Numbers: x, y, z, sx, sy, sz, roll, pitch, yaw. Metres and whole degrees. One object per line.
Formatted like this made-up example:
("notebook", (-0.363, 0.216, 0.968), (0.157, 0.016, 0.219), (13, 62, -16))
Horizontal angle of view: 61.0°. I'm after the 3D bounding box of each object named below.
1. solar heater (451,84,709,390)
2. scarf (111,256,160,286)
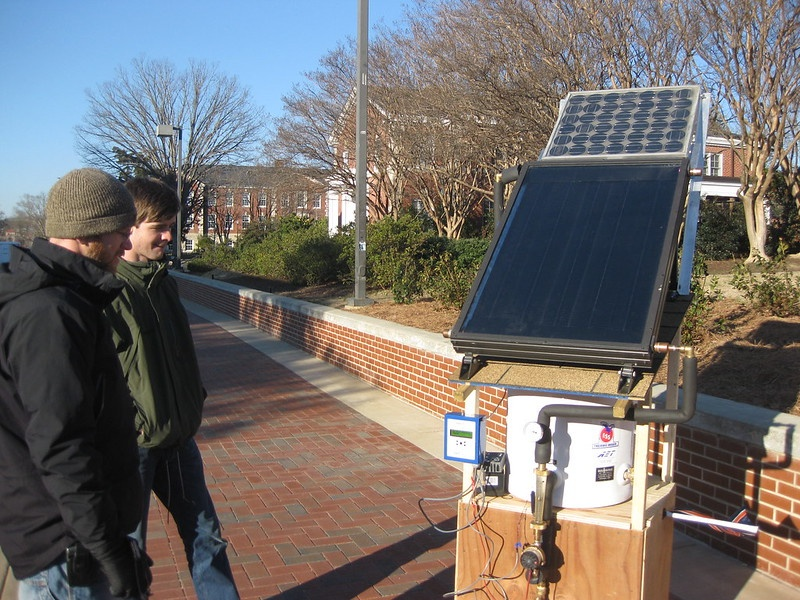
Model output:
("solar heater", (1.375, -0.801, 4.482), (1.203, 0.489, 2.073), (25, 16, 17))
("scarf", (-1.493, -0.168, 3.910), (0.249, 0.223, 0.201), (7, 6, -36))
